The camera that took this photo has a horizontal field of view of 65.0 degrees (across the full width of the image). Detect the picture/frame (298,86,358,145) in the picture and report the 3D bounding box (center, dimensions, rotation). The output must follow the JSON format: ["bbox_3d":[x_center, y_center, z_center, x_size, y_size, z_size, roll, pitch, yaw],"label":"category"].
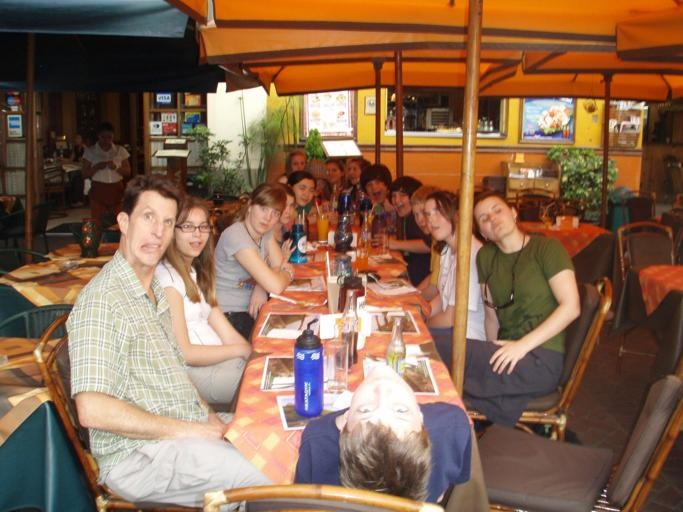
[{"bbox_3d":[-0.295,-2.916,11.014,1.350,1.553,0.117,1,18,4],"label":"picture/frame"}]

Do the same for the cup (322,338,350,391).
[{"bbox_3d":[-0.023,0.453,2.198,0.131,0.252,0.147,3,24,1],"label":"cup"}]

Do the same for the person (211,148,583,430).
[{"bbox_3d":[0.561,0.489,3.617,1.158,2.071,0.881,11,-18,-6],"label":"person"}]

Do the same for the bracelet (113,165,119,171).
[{"bbox_3d":[-3.106,-1.218,7.348,0.065,0.065,0.067,36,57,22],"label":"bracelet"}]

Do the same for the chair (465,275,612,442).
[{"bbox_3d":[1.232,0.747,3.359,0.797,1.364,0.739,1,22,27],"label":"chair"}]

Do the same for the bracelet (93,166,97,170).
[{"bbox_3d":[-3.299,-1.181,7.165,0.036,0.039,0.038,1,16,-10],"label":"bracelet"}]

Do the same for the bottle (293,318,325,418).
[{"bbox_3d":[-0.127,0.442,2.065,0.153,0.345,0.163,0,10,0],"label":"bottle"}]
